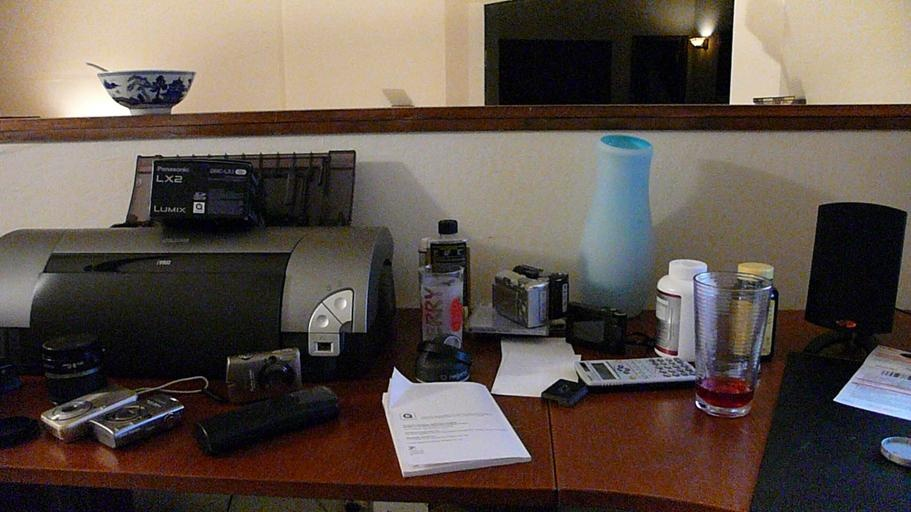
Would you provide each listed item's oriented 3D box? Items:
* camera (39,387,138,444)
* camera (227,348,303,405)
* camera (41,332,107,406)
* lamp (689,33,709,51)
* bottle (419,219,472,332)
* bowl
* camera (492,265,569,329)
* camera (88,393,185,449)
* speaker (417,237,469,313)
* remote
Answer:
[{"bbox_3d":[-0.907,0.378,1.601,0.124,0.045,0.173,20,33,40],"label":"camera"},{"bbox_3d":[-0.485,0.311,1.673,0.214,0.108,0.085,-9,-12,11],"label":"camera"},{"bbox_3d":[-0.973,0.288,1.735,0.185,0.175,0.177,-4,12,-18],"label":"camera"},{"bbox_3d":[1.093,-0.956,2.883,0.074,0.052,0.076,-4,10,-21],"label":"lamp"},{"bbox_3d":[-0.023,0.063,2.001,0.202,0.280,0.162,-8,-19,3],"label":"bottle"},{"bbox_3d":[-1.019,-0.524,2.142,0.306,0.119,0.288,-3,7,0],"label":"bowl"},{"bbox_3d":[0.231,0.119,1.969,0.172,0.133,0.206,-10,17,-26],"label":"camera"},{"bbox_3d":[-0.776,0.396,1.580,0.162,0.047,0.121,-20,31,-40],"label":"camera"},{"bbox_3d":[-0.021,0.034,2.038,0.201,0.190,0.186,-6,13,-19],"label":"speaker"},{"bbox_3d":[-0.461,0.391,1.572,0.300,0.066,0.133,-10,19,-20],"label":"remote"}]
